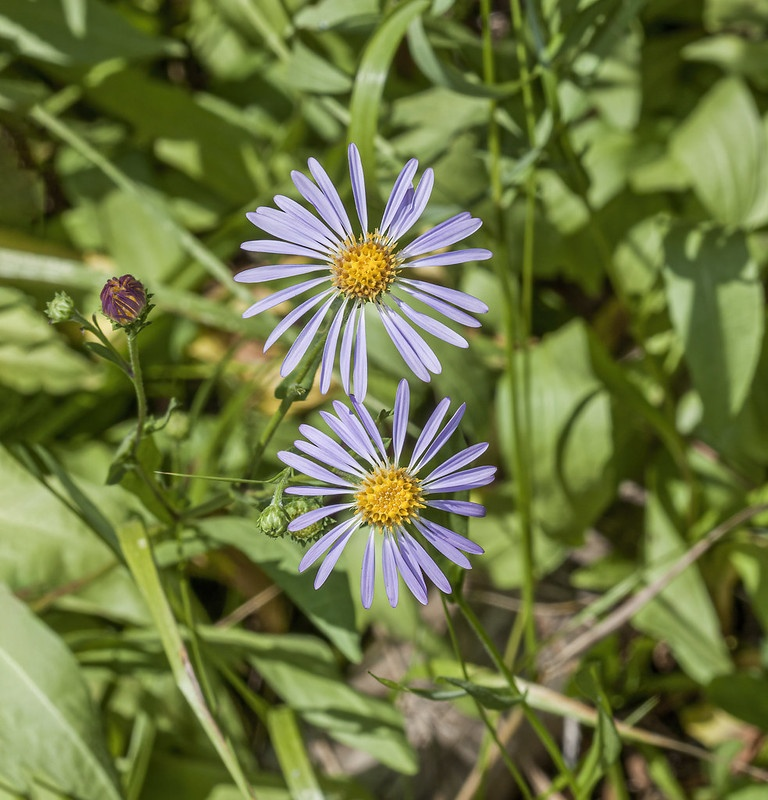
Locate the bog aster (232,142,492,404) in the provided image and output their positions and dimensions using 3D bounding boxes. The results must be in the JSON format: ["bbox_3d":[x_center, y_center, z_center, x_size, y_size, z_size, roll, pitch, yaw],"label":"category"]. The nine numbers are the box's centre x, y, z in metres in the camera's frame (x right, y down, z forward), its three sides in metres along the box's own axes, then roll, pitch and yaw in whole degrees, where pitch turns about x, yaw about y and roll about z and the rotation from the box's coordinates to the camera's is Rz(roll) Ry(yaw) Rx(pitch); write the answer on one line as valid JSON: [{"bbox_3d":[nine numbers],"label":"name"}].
[{"bbox_3d":[-0.020,-0.128,0.779,0.215,0.213,0.048,42,46,-25],"label":"bog aster"}]

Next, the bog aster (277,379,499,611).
[{"bbox_3d":[0.007,0.083,0.773,0.216,0.043,0.190,-3,18,-19],"label":"bog aster"}]
